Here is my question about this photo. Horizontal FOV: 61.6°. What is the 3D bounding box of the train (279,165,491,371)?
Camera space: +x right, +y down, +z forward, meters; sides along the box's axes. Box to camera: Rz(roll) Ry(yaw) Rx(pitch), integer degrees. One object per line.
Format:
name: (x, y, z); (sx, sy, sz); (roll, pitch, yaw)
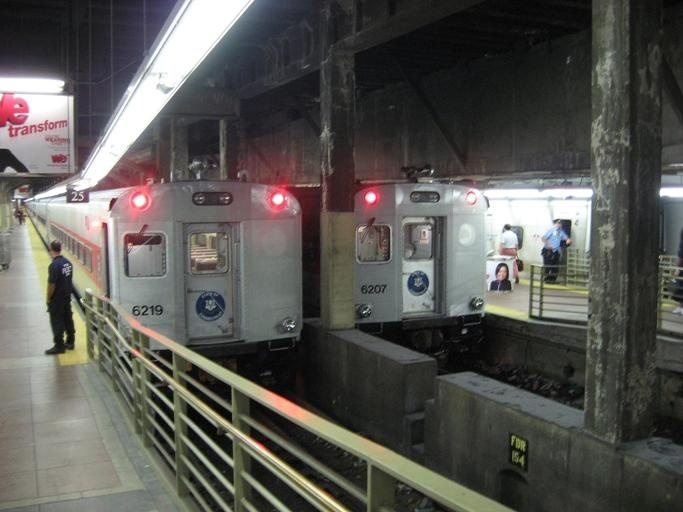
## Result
train: (1.222, -0.025, 13.957); (2.057, 3.340, 4.176); (-2, 4, -18)

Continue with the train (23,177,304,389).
train: (-3.581, 0.632, 11.101); (5.571, 3.941, 2.846); (0, 3, 36)

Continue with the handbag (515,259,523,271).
handbag: (6.268, 0.345, 20.292); (0.247, 0.488, 0.417); (-2, 3, 21)
